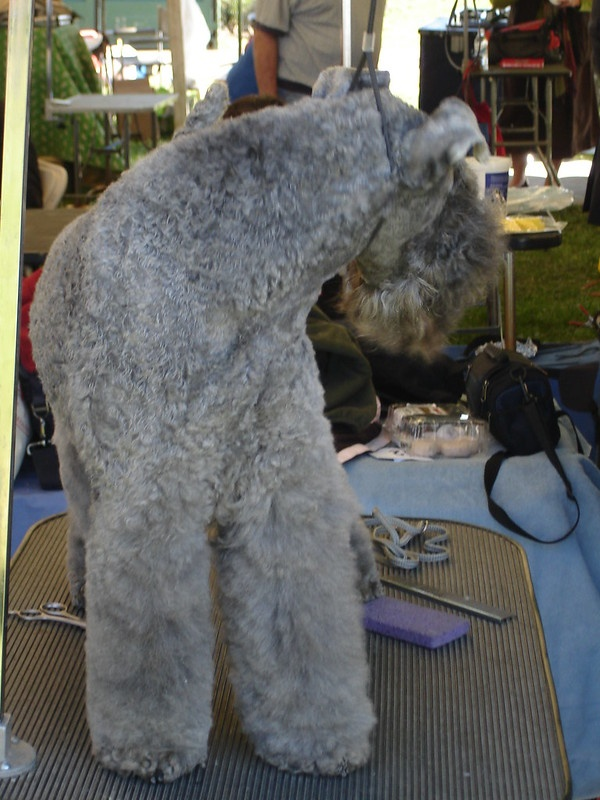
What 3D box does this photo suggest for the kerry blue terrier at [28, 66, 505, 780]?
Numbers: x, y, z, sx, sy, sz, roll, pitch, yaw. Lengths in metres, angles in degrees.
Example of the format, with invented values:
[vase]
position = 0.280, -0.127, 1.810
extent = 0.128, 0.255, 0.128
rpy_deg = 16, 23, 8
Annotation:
[kerry blue terrier]
position = -0.096, 0.009, 1.120
extent = 0.395, 0.808, 0.677
rpy_deg = -15, 33, -29
